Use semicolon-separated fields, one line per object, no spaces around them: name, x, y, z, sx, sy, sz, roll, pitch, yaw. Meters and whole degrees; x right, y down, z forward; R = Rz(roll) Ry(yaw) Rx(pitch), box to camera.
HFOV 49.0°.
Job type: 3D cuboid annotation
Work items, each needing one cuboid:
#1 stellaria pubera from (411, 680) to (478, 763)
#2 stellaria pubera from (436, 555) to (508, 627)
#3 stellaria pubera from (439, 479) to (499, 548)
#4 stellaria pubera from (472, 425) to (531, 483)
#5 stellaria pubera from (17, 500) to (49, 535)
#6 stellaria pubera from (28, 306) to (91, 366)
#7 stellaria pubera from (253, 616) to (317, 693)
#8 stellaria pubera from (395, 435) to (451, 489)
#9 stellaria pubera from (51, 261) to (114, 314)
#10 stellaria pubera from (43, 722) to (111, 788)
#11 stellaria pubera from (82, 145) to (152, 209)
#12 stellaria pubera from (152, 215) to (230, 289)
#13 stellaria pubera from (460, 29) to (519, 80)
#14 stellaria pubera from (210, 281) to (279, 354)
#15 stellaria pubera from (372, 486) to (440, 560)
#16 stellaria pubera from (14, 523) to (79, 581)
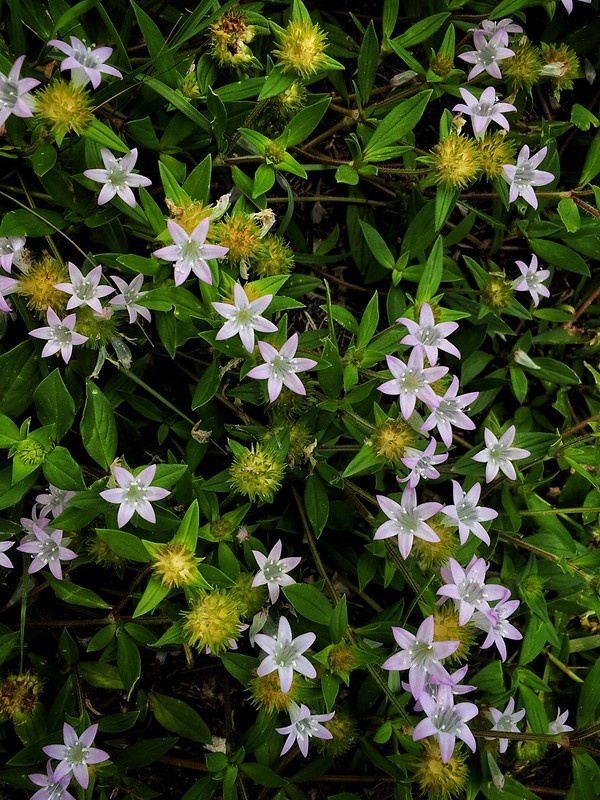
stellaria pubera;0.407;0.915;1.921;0.251;0.093;0.235;-1;82;-14
stellaria pubera;0.536;0.626;1.975;0.073;0.176;0.177;50;21;-5
stellaria pubera;0.507;0.336;2.063;0.222;0.074;0.183;8;49;32
stellaria pubera;0.690;0.187;2.320;0.227;0.065;0.195;1;97;3
stellaria pubera;-0.871;0.376;2.203;0.050;0.136;0.118;-4;78;-56
stellaria pubera;-0.756;-0.207;2.059;0.157;0.163;0.169;-16;64;-20
stellaria pubera;-0.043;0.717;1.866;0.173;0.124;0.196;-1;59;-12
stellaria pubera;0.361;0.171;1.980;0.177;0.173;0.074;17;25;-38
stellaria pubera;-0.676;-0.346;2.061;0.183;0.067;0.154;-3;90;-13
stellaria pubera;-0.682;1.082;2.022;0.160;0.177;0.179;33;59;9
stellaria pubera;-0.560;-0.687;2.013;0.164;0.146;0.134;-28;68;-24
stellaria pubera;-0.306;-0.383;1.830;0.162;0.218;0.178;23;58;3
stellaria pubera;0.722;-1.327;2.529;0.226;0.203;0.083;-3;15;27
stellaria pubera;-0.165;-0.218;1.897;0.177;0.203;0.183;3;59;-10
stellaria pubera;0.318;0.351;1.920;0.226;0.075;0.204;19;91;13
stellaria pubera;-0.807;0.484;2.126;0.167;0.157;0.143;10;58;-5
